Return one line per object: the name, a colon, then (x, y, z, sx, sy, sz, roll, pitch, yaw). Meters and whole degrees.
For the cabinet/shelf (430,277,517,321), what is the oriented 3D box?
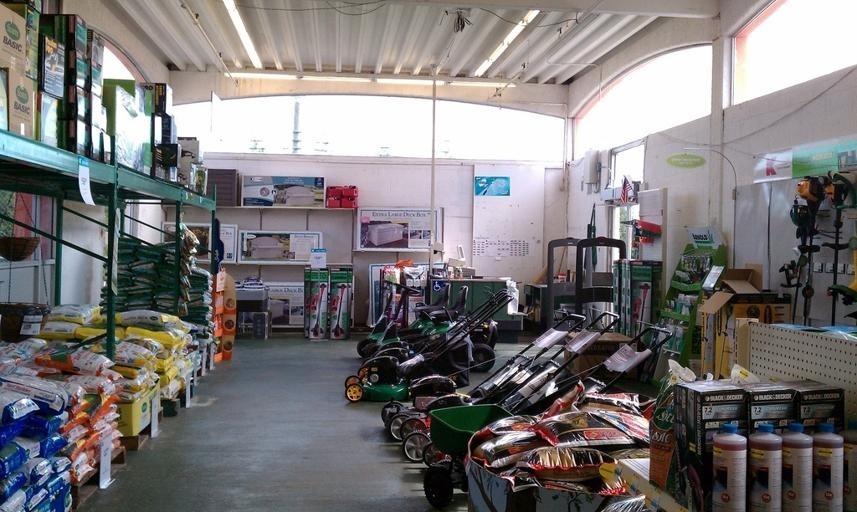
cabinet/shelf: (0.949, 0.810, 12.322, 1.924, 0.738, 2.012, -3, -4, 2)
